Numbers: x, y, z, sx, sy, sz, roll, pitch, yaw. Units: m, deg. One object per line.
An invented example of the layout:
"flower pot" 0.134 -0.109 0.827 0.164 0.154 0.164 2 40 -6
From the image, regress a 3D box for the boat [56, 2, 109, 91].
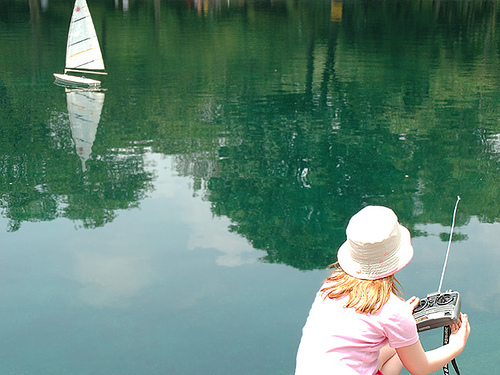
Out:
"boat" -13.395 -11.327 43.904 3.429 6.662 12.622 -2 11 -17
